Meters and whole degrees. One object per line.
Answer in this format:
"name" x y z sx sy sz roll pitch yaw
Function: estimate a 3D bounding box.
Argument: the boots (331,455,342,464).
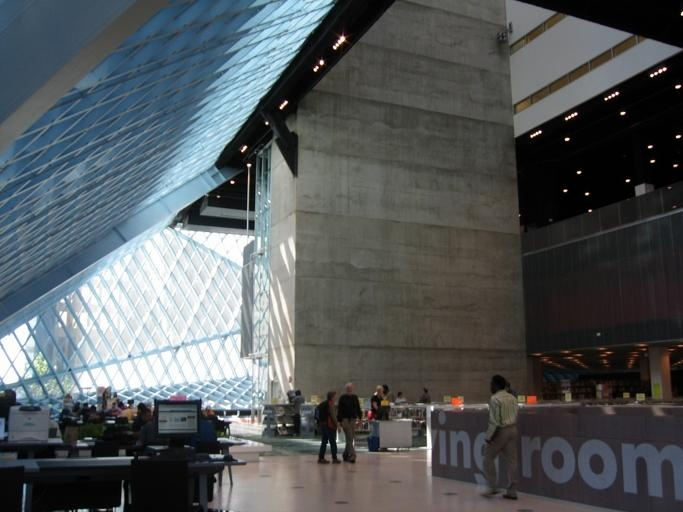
"boots" -0.117 5.179 17.885 0.241 0.261 0.129 -1 -1 -15

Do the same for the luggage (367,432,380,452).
"luggage" 0.910 5.578 21.035 0.381 0.508 0.430 5 -9 -42

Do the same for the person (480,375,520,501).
"person" 2.944 3.364 13.066 0.684 2.240 0.618 -8 -13 29

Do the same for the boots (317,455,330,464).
"boots" -0.436 5.192 17.898 0.360 0.171 0.125 5 -8 -33
